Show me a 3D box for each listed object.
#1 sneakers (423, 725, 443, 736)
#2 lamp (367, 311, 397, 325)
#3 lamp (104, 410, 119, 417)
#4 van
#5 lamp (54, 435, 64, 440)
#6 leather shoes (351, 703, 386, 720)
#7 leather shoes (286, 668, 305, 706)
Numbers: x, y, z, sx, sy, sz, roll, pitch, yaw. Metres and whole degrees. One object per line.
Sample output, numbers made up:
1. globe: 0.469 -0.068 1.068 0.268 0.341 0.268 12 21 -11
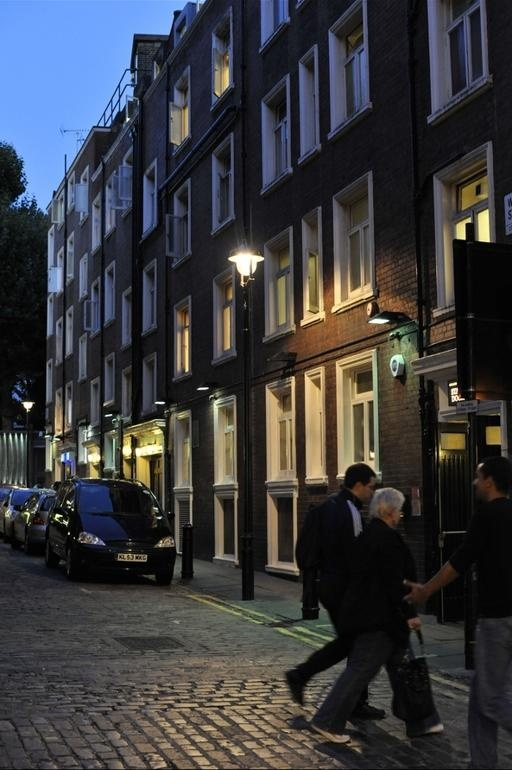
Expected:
1. sneakers: 0.942 1.861 4.567 0.102 0.062 0.075 -26 -20 37
2. lamp: 1.839 -0.961 12.316 0.409 0.137 0.682 -5 -11 16
3. lamp: -4.868 1.005 28.687 0.410 0.139 0.465 -2 -3 26
4. van: -2.619 2.525 15.124 1.306 1.436 2.638 4 -14 -15
5. lamp: -9.411 2.564 40.844 0.304 0.198 0.495 1 -5 1
6. leather shoes: 0.701 2.065 5.330 0.216 0.132 0.088 -3 6 -3
7. leather shoes: 0.228 1.831 5.111 0.108 0.238 0.244 -1 -9 3
